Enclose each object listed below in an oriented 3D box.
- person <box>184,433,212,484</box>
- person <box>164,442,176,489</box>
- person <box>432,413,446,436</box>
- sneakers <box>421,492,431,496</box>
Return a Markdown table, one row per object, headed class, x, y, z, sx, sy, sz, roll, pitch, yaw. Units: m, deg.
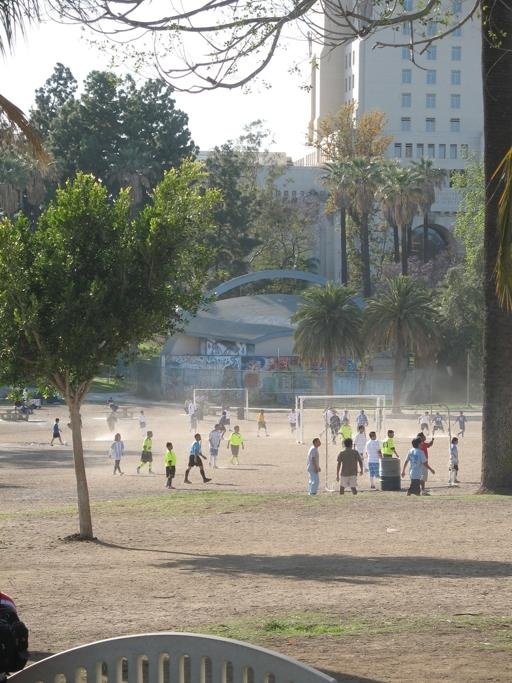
| class | x | y | z | sx | sy | sz | roll | pitch | yaw |
| --- | --- | --- | --- | --- | --- | --- | --- | --- | --- |
| person | -1.645 | 3.256 | 51.341 | 0.548 | 0.368 | 1.187 | -13 | -42 | -16 |
| person | -2.155 | 3.035 | 45.743 | 0.201 | 1.148 | 0.685 | -1 | 2 | -5 |
| person | 6.490 | 2.856 | 64.582 | 0.630 | 0.540 | 1.150 | -5 | 16 | 6 |
| sneakers | 4.074 | 3.553 | 43.522 | 0.081 | 0.098 | 0.201 | 3 | 0 | 30 |
